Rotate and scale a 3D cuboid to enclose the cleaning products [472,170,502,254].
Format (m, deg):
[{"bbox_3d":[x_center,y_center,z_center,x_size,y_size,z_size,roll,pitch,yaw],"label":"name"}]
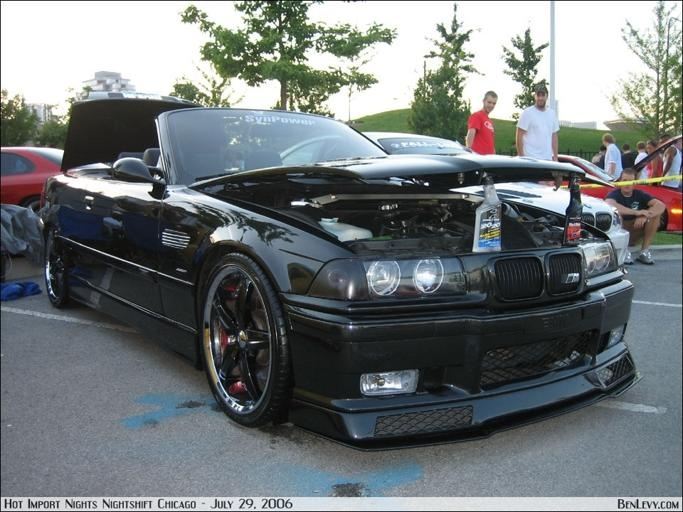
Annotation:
[{"bbox_3d":[0.755,-0.224,2.569,0.142,0.391,0.248,2,12,15],"label":"cleaning products"}]

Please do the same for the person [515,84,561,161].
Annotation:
[{"bbox_3d":[3.218,-2.146,8.124,0.757,1.183,0.389,-1,8,-14],"label":"person"}]
